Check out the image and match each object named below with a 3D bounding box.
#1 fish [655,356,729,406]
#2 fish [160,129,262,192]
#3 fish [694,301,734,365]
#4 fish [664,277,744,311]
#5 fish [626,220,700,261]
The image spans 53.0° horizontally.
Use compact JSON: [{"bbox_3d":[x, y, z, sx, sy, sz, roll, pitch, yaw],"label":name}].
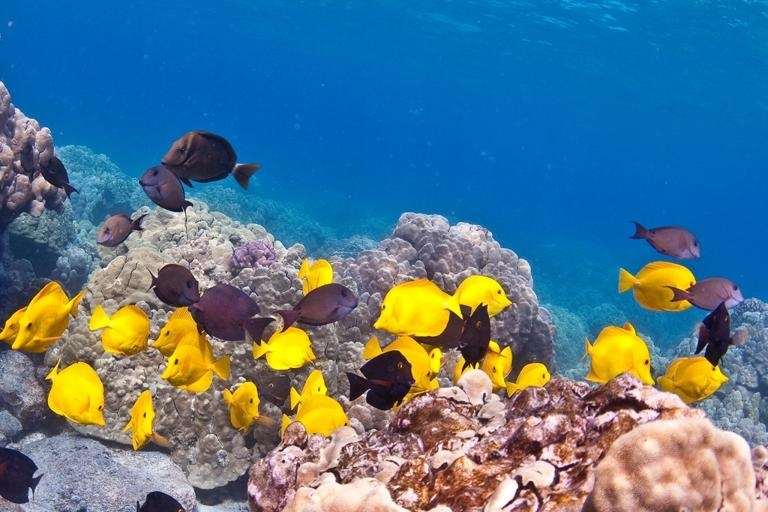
[{"bbox_3d":[15.844,6.326,39.704,2.843,2.148,1.418,13,39,0],"label":"fish"},{"bbox_3d":[-9.236,-5.010,39.719,4.164,2.100,1.507,6,39,-9],"label":"fish"},{"bbox_3d":[16.984,4.027,39.542,1.584,2.561,1.880,-2,41,-18],"label":"fish"},{"bbox_3d":[16.947,1.972,40.028,3.610,0.687,1.918,-1,72,0],"label":"fish"},{"bbox_3d":[14.847,-0.751,40.312,3.664,0.843,1.913,14,67,2],"label":"fish"}]
